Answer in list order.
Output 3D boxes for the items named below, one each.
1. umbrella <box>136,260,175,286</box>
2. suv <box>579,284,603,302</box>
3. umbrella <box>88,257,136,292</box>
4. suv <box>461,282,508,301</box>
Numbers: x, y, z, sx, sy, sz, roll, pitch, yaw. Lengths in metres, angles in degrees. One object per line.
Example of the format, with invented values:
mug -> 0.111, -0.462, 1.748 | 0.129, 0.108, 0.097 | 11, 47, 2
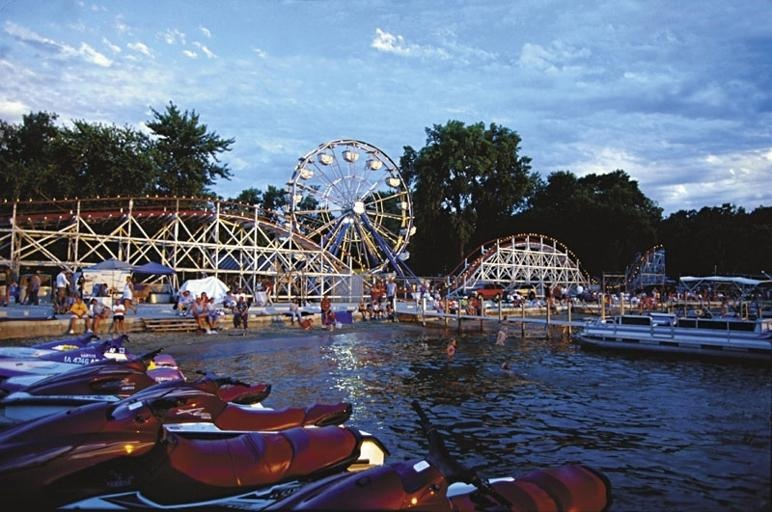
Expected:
umbrella -> -12.869, 0.832, 33.632 | 2.321, 0.959, 2.398 | -2, 0, 41
suv -> 18.596, 3.409, 56.936 | 2.041, 1.009, 2.715 | 0, 0, 7
umbrella -> -14.600, 0.964, 32.085 | 2.255, 0.935, 2.158 | -3, 9, -28
suv -> 7.919, 2.814, 49.146 | 2.849, 1.039, 1.774 | 3, -7, -8
